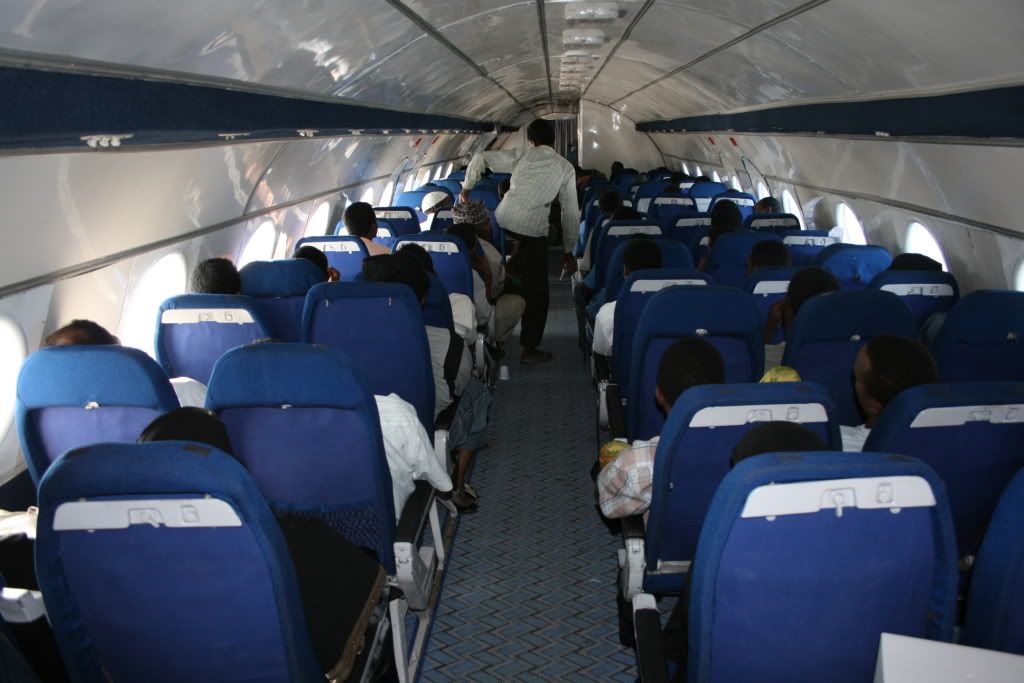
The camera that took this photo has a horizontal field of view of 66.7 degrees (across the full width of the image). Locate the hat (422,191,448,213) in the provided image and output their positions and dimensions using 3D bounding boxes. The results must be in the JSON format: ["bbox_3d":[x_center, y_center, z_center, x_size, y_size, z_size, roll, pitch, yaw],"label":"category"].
[{"bbox_3d":[-1.300,-2.340,12.956,0.343,0.225,0.494,-30,3,17],"label":"hat"}]
